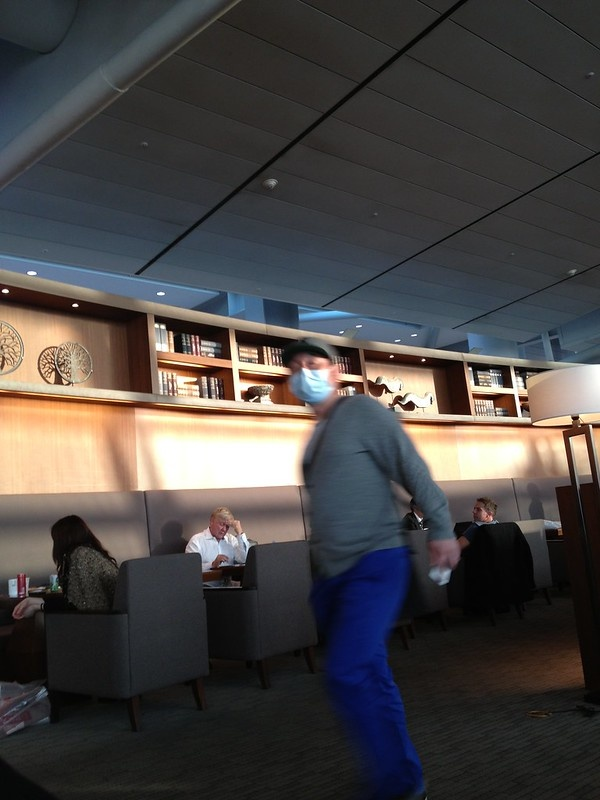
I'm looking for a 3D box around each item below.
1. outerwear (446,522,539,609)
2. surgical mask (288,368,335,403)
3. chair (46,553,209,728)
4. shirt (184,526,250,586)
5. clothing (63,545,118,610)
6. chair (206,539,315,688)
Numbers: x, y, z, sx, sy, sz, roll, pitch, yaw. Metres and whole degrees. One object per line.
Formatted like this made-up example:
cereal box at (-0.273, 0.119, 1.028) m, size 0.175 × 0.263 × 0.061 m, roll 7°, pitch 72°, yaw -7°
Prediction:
outerwear at (1.906, 1.723, 5.681) m, size 0.648 × 0.774 × 0.615 m, roll 15°, pitch -28°, yaw -28°
surgical mask at (0.042, -0.041, 1.705) m, size 0.105 × 0.076 × 0.116 m, roll -4°, pitch -11°, yaw 26°
chair at (-0.860, 1.210, 3.222) m, size 0.646 × 0.647 × 0.502 m, roll 6°, pitch -16°, yaw -17°
shirt at (-0.734, 1.492, 5.138) m, size 0.579 × 0.697 × 0.405 m, roll 8°, pitch -26°, yaw -37°
clothing at (-1.190, 1.019, 3.289) m, size 0.282 × 0.341 × 0.199 m, roll -7°, pitch -7°, yaw -20°
chair at (-0.324, 1.443, 3.884) m, size 0.616 × 0.808 × 0.772 m, roll -16°, pitch -22°, yaw 31°
